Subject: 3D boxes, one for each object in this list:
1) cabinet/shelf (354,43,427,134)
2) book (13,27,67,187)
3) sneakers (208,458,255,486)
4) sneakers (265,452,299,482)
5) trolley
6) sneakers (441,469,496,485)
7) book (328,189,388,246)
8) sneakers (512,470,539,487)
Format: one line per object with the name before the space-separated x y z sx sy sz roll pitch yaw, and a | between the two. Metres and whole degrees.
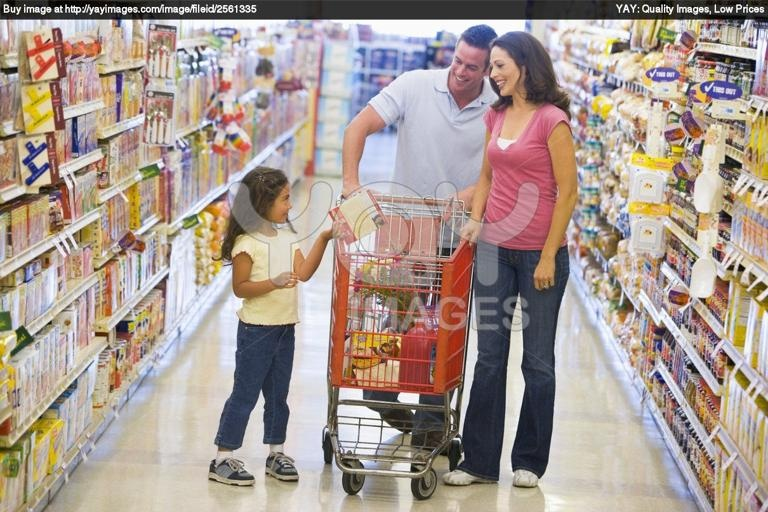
cabinet/shelf | -0.208 -4.180 15.497 2.417 2.301 1.812 -1 19 -11
book | -1.557 -0.670 2.878 0.108 0.721 0.308 4 10 4
sneakers | -0.806 1.147 3.408 0.260 0.123 0.112 2 -3 18
sneakers | -0.558 1.144 3.469 0.096 0.100 0.210 3 -1 -42
trolley | 0.064 0.450 3.340 0.783 1.609 0.845 5 10 8
sneakers | 0.460 1.218 3.517 0.307 0.109 0.150 -2 -34 1
book | -0.119 -0.173 2.906 0.231 0.237 0.063 -26 17 13
sneakers | 0.773 1.201 3.470 0.092 0.107 0.118 3 -11 5
